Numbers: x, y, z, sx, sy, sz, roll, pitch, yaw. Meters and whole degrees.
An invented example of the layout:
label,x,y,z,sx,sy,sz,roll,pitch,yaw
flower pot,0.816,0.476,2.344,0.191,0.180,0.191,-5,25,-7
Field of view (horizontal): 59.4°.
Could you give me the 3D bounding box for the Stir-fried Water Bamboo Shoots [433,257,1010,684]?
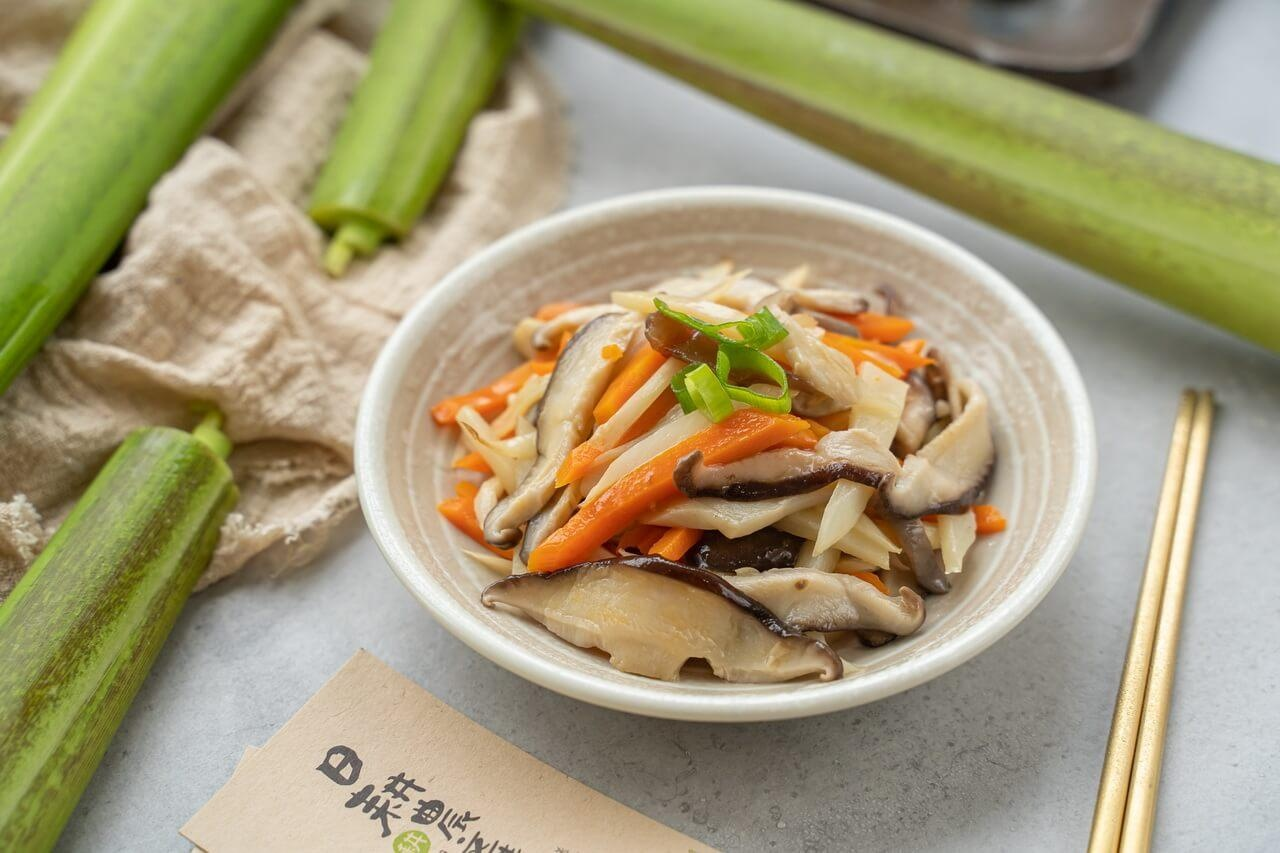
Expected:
label,x,y,z,sx,sy,sz,roll,pitch,yaw
Stir-fried Water Bamboo Shoots,0.170,0.128,2.334,0.824,0.331,0.907,3,60,-1
